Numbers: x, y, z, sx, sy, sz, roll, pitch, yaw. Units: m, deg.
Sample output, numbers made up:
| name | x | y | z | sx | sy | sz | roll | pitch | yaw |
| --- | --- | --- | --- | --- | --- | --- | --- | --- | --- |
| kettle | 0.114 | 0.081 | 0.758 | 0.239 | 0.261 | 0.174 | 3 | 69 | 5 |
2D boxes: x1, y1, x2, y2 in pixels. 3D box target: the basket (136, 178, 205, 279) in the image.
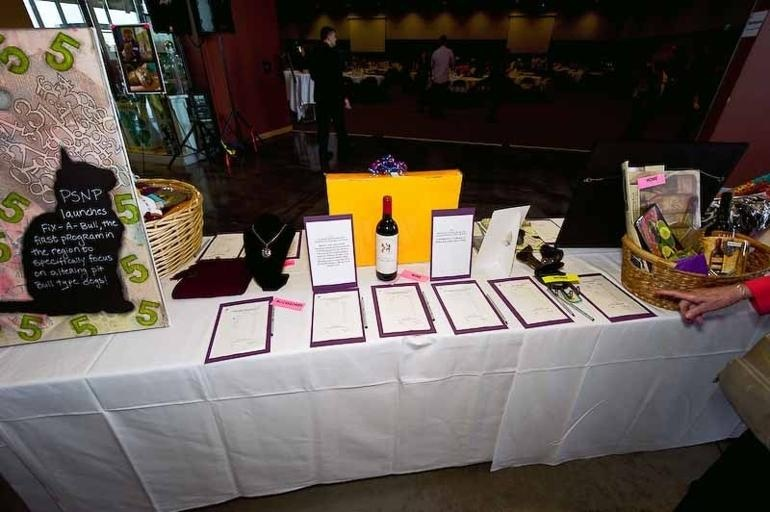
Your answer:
| name | x | y | z | sx | sy | sz | roll | pitch | yaw |
| --- | --- | --- | --- | --- | --- | --- | --- | --- | --- |
| basket | -1.121 | -0.166 | 2.542 | 0.437 | 0.223 | 0.525 | -4 | 22 | -15 |

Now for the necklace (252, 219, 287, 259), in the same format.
| name | x | y | z | sx | sy | sz | roll | pitch | yaw |
| --- | --- | --- | --- | --- | --- | --- | --- | --- | --- |
| necklace | -0.608 | -0.085 | 2.507 | 0.169 | 0.072 | 0.212 | 1 | 66 | 0 |

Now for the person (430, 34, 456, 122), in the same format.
| name | x | y | z | sx | sy | sz | roll | pitch | yaw |
| --- | --- | --- | --- | --- | --- | --- | --- | --- | --- |
| person | 0.904 | -2.674 | 7.041 | 0.347 | 1.060 | 0.314 | 19 | 33 | 34 |

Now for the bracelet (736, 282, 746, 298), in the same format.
| name | x | y | z | sx | sy | sz | roll | pitch | yaw |
| --- | --- | --- | --- | --- | --- | --- | --- | --- | --- |
| bracelet | 1.671 | 0.163 | 2.211 | 0.053 | 0.049 | 0.012 | 4 | -2 | -15 |

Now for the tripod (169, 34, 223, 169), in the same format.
| name | x | y | z | sx | sy | sz | roll | pitch | yaw |
| --- | --- | --- | --- | --- | --- | --- | --- | --- | --- |
| tripod | -2.383 | -1.938 | 5.871 | 0.502 | 1.455 | 0.743 | -11 | 33 | -16 |
